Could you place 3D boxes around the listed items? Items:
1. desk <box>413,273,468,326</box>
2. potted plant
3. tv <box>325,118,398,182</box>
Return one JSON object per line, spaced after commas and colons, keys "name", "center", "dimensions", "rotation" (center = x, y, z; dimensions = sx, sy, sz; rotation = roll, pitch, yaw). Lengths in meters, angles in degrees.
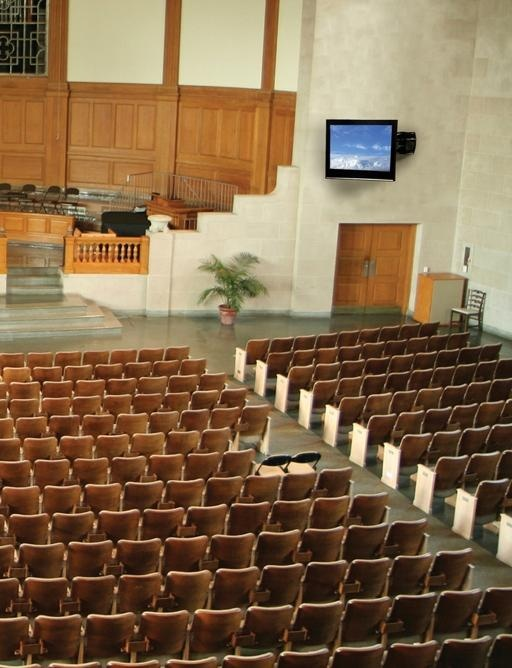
{"name": "desk", "center": [4.159, -0.793, 14.002], "dimensions": [0.928, 1.013, 0.648], "rotation": [-2, 18, -14]}
{"name": "potted plant", "center": [-0.688, -0.863, 13.734], "dimensions": [1.764, 1.233, 1.524], "rotation": [-1, -6, 16]}
{"name": "tv", "center": [2.199, -3.871, 12.844], "dimensions": [1.600, 1.168, 0.108], "rotation": [2, 17, 8]}
